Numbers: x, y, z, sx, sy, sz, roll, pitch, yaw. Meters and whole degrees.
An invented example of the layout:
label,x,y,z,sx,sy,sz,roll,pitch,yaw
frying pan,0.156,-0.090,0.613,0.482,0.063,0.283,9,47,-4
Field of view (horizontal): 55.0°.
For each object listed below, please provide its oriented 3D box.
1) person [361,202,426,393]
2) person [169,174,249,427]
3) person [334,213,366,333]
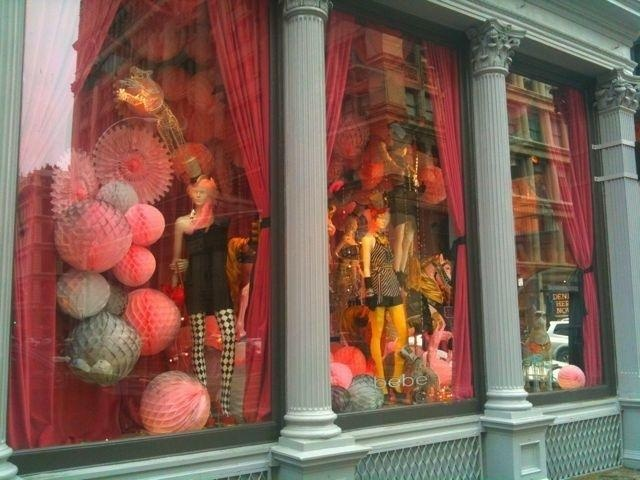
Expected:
label,x,y,z,sx,sy,sz,roll,pitch,yaw
person,0.721,0.666,6.804,0.656,2.024,0.245,9,-18,-38
person,-1.083,0.532,5.869,0.268,2.314,0.657,-15,-19,41
person,0.323,0.340,6.630,0.390,1.292,0.155,4,-16,-24
